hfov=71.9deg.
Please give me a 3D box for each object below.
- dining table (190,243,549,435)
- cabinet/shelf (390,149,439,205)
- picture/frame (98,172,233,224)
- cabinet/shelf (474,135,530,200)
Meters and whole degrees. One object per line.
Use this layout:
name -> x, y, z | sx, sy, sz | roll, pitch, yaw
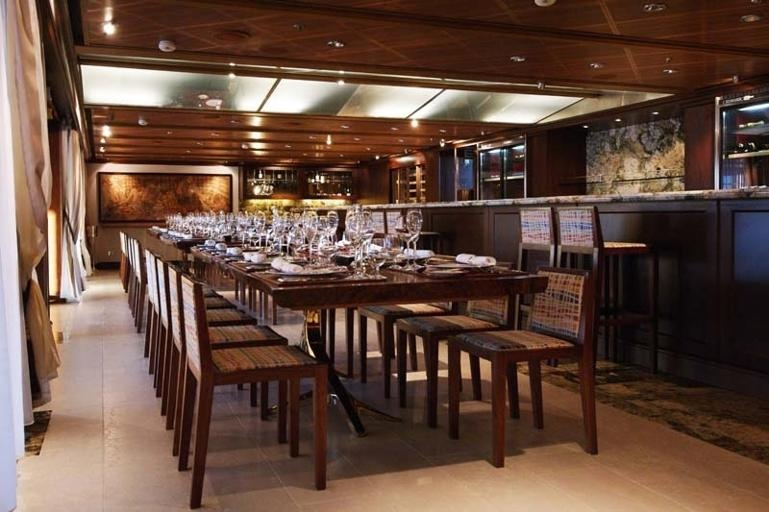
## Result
dining table -> -0.088, 0.556, 3.352 | 1.469, 1.060, 1.348 | -4, 9, -24
cabinet/shelf -> 0.719, -1.897, 12.798 | 0.480, 1.225, 2.272 | -4, 9, -19
picture/frame -> -5.857, -1.525, 13.740 | 2.545, 0.868, 0.085 | 0, -2, -19
cabinet/shelf -> 2.204, -1.658, 10.150 | 0.442, 1.107, 1.408 | -3, 9, -14
